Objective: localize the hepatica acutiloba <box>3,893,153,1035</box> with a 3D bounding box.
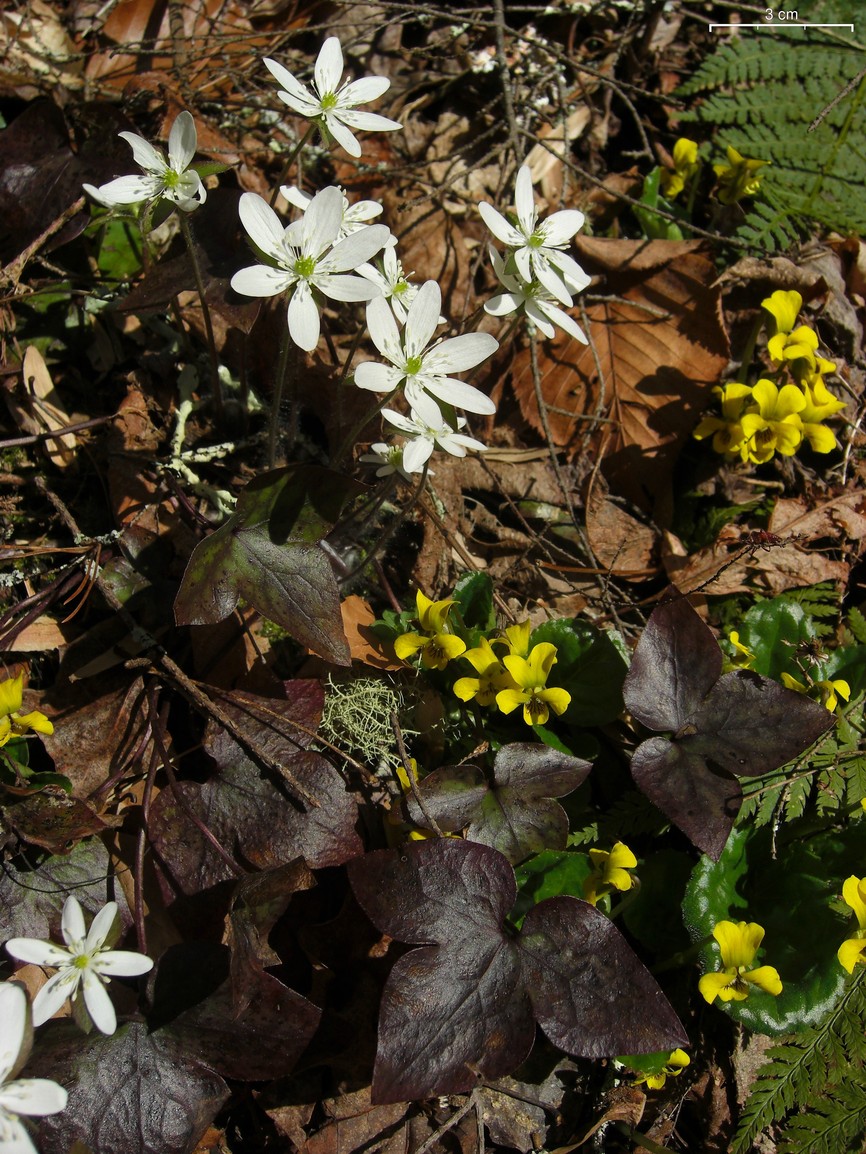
[{"bbox_3d":[-0.669,0.674,1.973,0.320,0.270,0.086,-7,-11,-16],"label":"hepatica acutiloba"}]
